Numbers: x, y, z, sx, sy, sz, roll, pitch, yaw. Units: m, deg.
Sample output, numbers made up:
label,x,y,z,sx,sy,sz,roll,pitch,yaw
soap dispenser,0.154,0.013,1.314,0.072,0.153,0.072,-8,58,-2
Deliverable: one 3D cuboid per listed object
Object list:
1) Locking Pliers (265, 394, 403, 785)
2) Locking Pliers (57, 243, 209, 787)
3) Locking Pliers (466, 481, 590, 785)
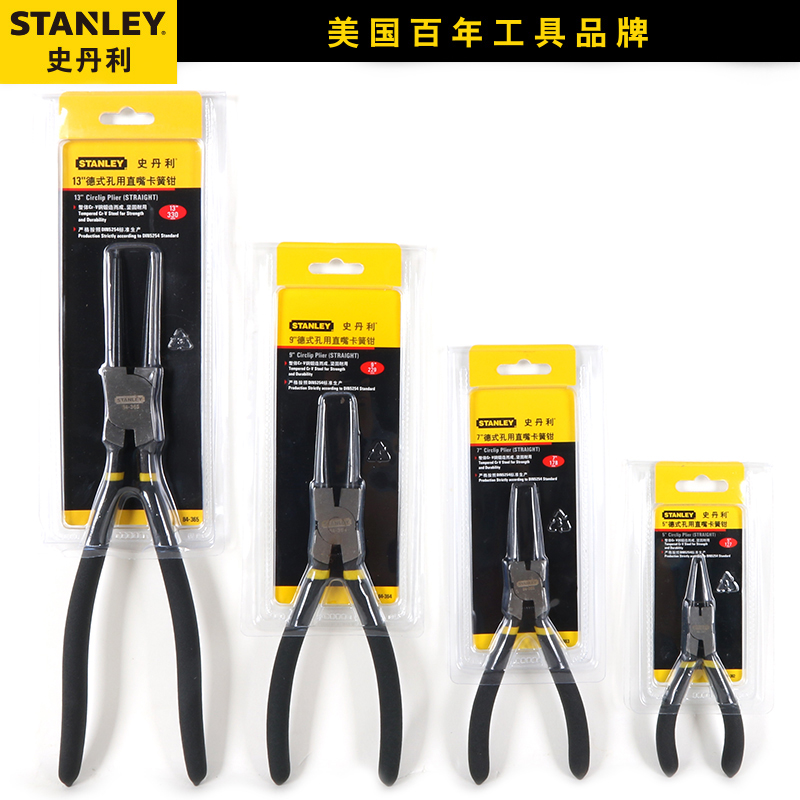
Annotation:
label,x,y,z,sx,sy,sz,roll,pitch,yaw
Locking Pliers,-0.079,0.242,1.039,0.168,0.505,0.078,1,3,-1
Locking Pliers,-0.336,0.150,1.029,0.183,0.709,0.121,1,3,-12
Locking Pliers,0.169,0.306,1.061,0.142,0.384,0.029,-7,-40,19
